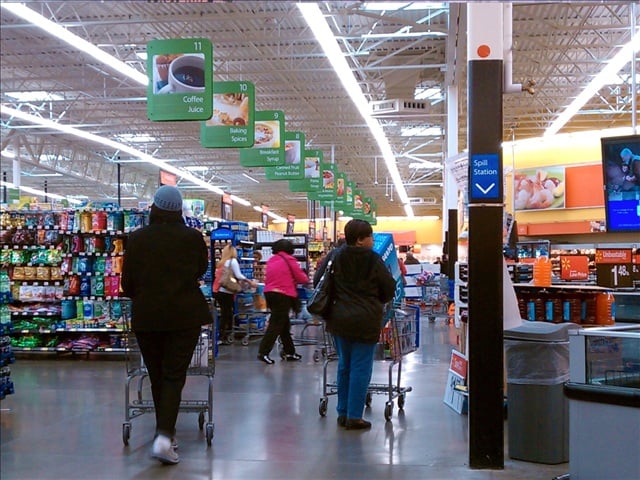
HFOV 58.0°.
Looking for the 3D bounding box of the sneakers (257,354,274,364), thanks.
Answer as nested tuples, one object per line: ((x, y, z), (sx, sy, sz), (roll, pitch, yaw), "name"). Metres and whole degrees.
((-0.821, 1.793, 8.680), (0.285, 0.104, 0.121), (26, -56, -38), "sneakers")

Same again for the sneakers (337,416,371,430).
((0.305, 1.631, 5.170), (0.251, 0.107, 0.126), (-2, 1, -10), "sneakers")

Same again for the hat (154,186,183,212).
((-1.226, -0.347, 4.603), (0.175, 0.122, 0.237), (7, 32, -31), "hat")

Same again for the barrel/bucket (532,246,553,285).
((2.701, 0.374, 7.016), (0.192, 0.358, 0.553), (-1, -6, 19), "barrel/bucket")

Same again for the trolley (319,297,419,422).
((0.418, 1.134, 5.969), (1.116, 1.037, 0.648), (13, -5, 21), "trolley")

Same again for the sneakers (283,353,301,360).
((-0.460, 1.866, 9.165), (0.294, 0.120, 0.104), (0, 2, -13), "sneakers")

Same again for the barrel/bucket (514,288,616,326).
((2.675, 0.717, 6.363), (0.997, 0.429, 0.297), (-2, -6, 19), "barrel/bucket")

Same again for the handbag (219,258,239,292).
((-1.531, 0.579, 9.606), (0.191, 0.648, 0.511), (-5, -9, 28), "handbag")

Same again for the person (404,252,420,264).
((3.917, 0.784, 24.916), (0.596, 0.555, 1.770), (14, 7, 8), "person")

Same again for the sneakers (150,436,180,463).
((-1.148, 1.545, 4.245), (0.169, 0.235, 0.199), (1, -6, 0), "sneakers")

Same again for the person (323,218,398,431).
((0.366, 0.874, 5.089), (0.616, 1.612, 0.413), (-1, -6, 16), "person")
